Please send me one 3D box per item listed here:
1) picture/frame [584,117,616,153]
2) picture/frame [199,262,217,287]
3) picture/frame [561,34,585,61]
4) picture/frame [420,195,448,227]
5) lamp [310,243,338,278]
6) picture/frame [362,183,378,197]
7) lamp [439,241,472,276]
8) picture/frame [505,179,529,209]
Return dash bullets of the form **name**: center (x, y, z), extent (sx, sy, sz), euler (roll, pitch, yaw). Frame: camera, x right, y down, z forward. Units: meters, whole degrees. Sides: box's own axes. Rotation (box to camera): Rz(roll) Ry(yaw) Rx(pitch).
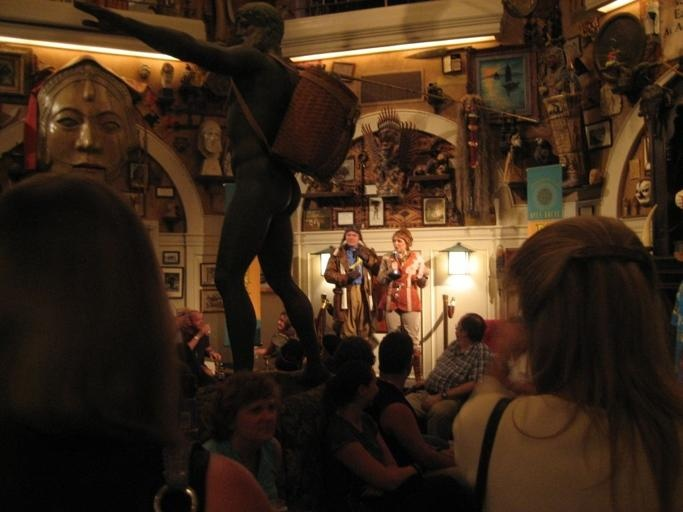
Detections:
- **picture/frame**: center (2.693, -1.275, 7.927), extent (0.031, 0.285, 0.463), euler (-2, 0, -16)
- **picture/frame**: center (-1.528, 0.211, 8.551), extent (0.243, 0.255, 0.024), euler (-23, 10, -38)
- **picture/frame**: center (2.523, -2.276, 8.248), extent (0.048, 0.233, 0.212), euler (1, -12, -25)
- **picture/frame**: center (1.179, -0.567, 9.548), extent (0.345, 0.454, 0.033), euler (-1, -4, 17)
- **lamp**: center (-0.231, 0.063, 9.770), extent (0.334, 0.333, 0.394), euler (0, -3, -11)
- **picture/frame**: center (0.371, -0.868, 9.941), extent (0.183, 0.211, 0.147), euler (3, 7, 13)
- **lamp**: center (1.386, 0.012, 9.100), extent (0.333, 0.363, 0.353), euler (-1, -10, 16)
- **picture/frame**: center (2.116, -0.762, 9.102), extent (0.235, 0.382, 0.260), euler (-5, 3, 21)
